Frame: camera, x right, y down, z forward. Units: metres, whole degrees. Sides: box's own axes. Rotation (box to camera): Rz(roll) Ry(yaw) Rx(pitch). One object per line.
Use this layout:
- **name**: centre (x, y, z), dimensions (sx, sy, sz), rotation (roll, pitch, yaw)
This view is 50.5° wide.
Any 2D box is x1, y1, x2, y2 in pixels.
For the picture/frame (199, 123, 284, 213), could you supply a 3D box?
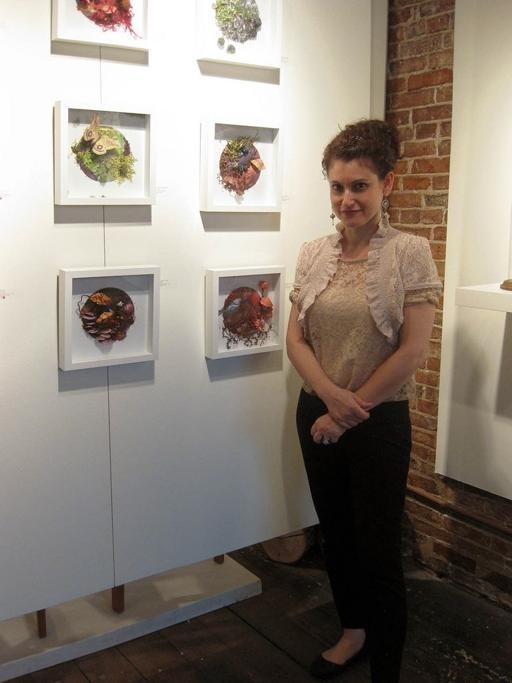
- **picture/frame**: centre (-0.053, -0.540, 1.657), dimensions (0.299, 0.282, 0.047), rotation (-5, 10, -33)

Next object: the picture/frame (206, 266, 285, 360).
- **picture/frame**: centre (-0.042, -0.103, 1.745), dimensions (0.293, 0.278, 0.042), rotation (-7, 14, -38)

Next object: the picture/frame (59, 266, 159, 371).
- **picture/frame**: centre (-0.406, -0.074, 1.467), dimensions (0.269, 0.254, 0.039), rotation (-10, 19, -35)

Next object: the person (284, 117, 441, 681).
- **person**: centre (0.276, 0.222, 1.533), dimensions (0.301, 1.635, 0.429), rotation (-1, 4, -13)

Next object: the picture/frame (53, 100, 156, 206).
- **picture/frame**: centre (-0.393, -0.492, 1.400), dimensions (0.033, 0.239, 0.266), rotation (21, 24, 31)
